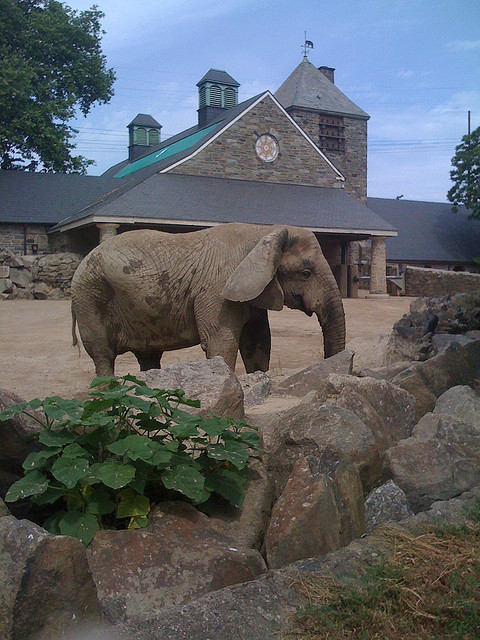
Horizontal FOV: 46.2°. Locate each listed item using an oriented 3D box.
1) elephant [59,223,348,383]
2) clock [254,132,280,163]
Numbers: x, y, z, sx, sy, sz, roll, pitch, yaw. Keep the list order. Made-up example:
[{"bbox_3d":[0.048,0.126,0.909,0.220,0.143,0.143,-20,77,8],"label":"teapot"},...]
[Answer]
[{"bbox_3d":[-0.300,-0.059,5.289,2.566,1.601,1.229,-3,13,2],"label":"elephant"},{"bbox_3d":[1.101,-7.599,24.609,1.120,1.095,0.086,-39,37,-26],"label":"clock"}]
